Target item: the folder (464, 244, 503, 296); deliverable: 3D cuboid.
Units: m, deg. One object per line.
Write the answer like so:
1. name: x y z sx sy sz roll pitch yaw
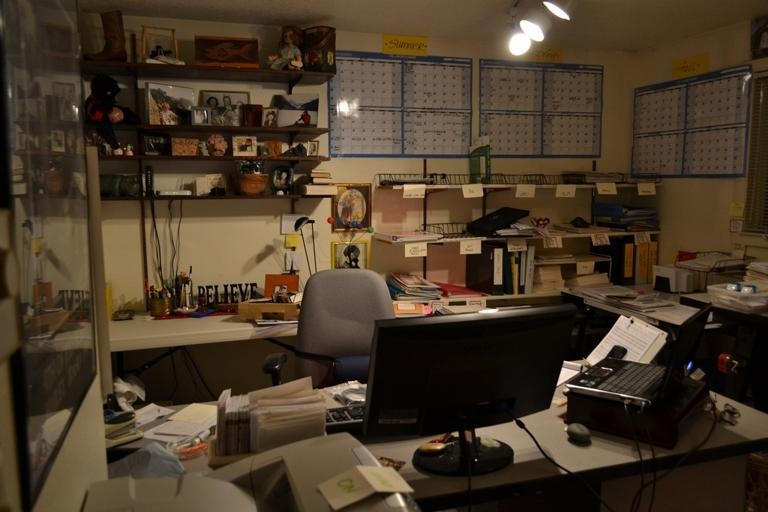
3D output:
1. folder: 0.775 0.104 4.397 0.121 0.328 0.365 -2 6 -17

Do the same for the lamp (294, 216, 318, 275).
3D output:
1. lamp: -0.571 -0.072 4.194 0.101 0.426 0.179 1 6 21

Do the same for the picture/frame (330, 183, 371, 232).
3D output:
1. picture/frame: -0.257 -0.360 4.282 0.388 0.404 0.043 0 0 -20

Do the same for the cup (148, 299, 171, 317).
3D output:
1. cup: -1.475 0.343 3.806 0.115 0.105 0.112 3 11 -1

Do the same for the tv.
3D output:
1. tv: 0.324 0.513 2.136 0.615 0.407 0.199 -3 8 -13

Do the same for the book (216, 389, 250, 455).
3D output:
1. book: -0.566 0.642 2.237 0.079 0.211 0.164 1 3 -14

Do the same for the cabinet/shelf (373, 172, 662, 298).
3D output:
1. cabinet/shelf: 0.748 -0.194 4.672 2.167 0.921 0.351 -1 5 -24
